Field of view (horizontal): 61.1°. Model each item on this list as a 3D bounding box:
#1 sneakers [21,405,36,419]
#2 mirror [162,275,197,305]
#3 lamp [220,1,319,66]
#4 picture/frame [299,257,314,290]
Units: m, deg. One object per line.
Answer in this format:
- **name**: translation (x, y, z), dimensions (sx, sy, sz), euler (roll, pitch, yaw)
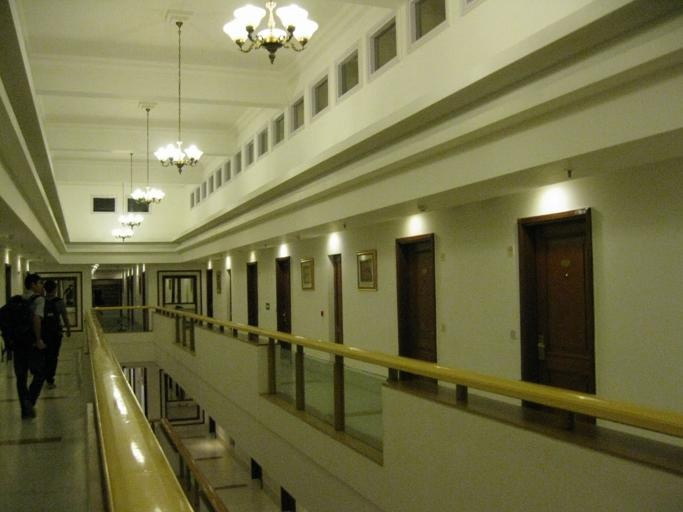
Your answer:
- **sneakers**: translation (-3.245, 1.608, 6.028), dimensions (0.129, 0.126, 0.131), euler (4, -8, -22)
- **mirror**: translation (-6.705, 1.360, 23.817), dimensions (1.109, 1.010, 0.084), euler (-5, 6, -40)
- **lamp**: translation (-1.006, -3.138, 8.097), dimensions (1.304, 0.979, 1.344), euler (1, 2, 5)
- **picture/frame**: translation (-0.762, 0.372, 12.892), dimensions (0.053, 0.700, 0.668), euler (1, -6, -20)
